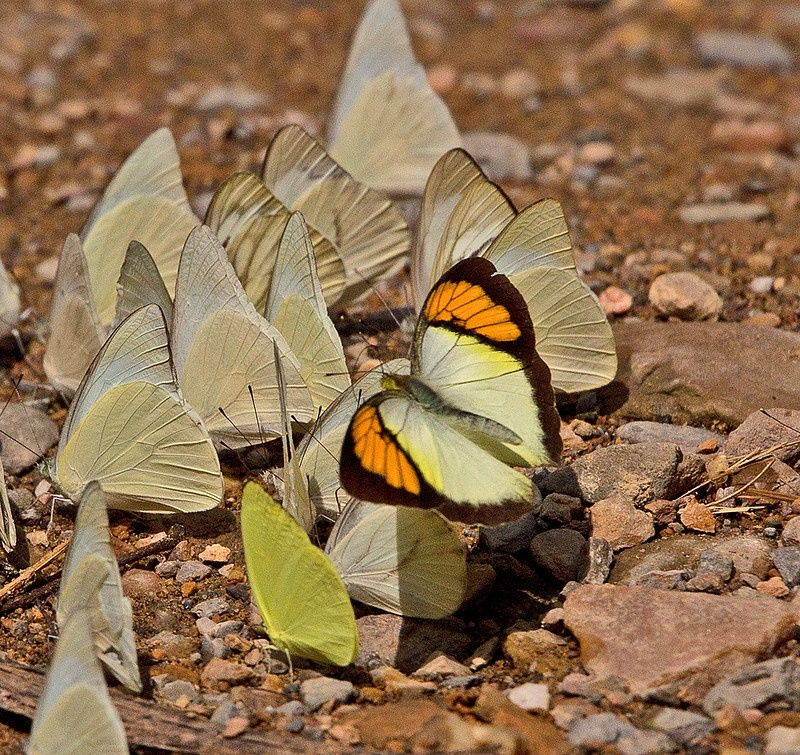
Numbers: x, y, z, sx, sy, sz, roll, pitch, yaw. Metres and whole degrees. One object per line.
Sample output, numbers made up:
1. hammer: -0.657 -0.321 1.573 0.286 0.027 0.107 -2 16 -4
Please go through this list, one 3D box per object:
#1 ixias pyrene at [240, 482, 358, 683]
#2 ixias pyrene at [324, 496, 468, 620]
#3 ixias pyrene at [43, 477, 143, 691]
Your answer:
1. ixias pyrene: -0.336 0.699 3.392 0.432 0.799 0.230 32 59 31
2. ixias pyrene: -0.009 0.653 3.754 0.460 0.235 0.480 17 31 34
3. ixias pyrene: -1.044 0.721 3.572 0.379 0.535 0.497 -22 63 -28
